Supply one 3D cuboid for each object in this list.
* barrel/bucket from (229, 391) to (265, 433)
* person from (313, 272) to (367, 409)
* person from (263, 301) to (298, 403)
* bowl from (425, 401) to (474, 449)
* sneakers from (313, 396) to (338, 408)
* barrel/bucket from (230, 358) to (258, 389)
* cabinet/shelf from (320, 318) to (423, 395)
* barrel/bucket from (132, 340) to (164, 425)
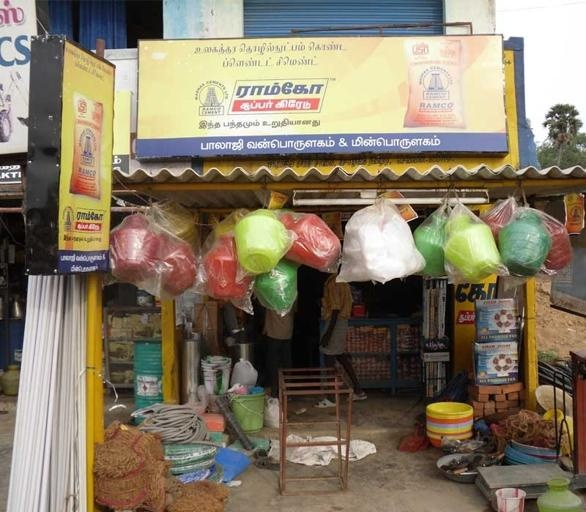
[{"bbox_3d":[-0.527,1.879,8.370,0.480,0.452,0.461,-3,-3,0],"label":"barrel/bucket"},{"bbox_3d":[0.630,1.146,9.372,0.679,1.776,1.187,-1,0,6],"label":"person"},{"bbox_3d":[-0.176,1.267,9.372,0.434,1.241,0.569,-1,0,-3],"label":"person"},{"bbox_3d":[1.699,1.804,7.490,0.478,0.361,0.483,0,-7,0],"label":"bowl"},{"bbox_3d":[0.438,2.004,9.447,0.324,0.152,0.130,1,-5,-2],"label":"sneakers"},{"bbox_3d":[-0.600,1.442,8.592,0.303,0.349,0.320,2,-13,1],"label":"barrel/bucket"},{"bbox_3d":[1.467,1.445,10.190,1.068,1.028,0.440,-4,0,24],"label":"cabinet/shelf"},{"bbox_3d":[-1.799,1.519,8.672,0.560,0.921,0.240,-2,0,38],"label":"barrel/bucket"}]
